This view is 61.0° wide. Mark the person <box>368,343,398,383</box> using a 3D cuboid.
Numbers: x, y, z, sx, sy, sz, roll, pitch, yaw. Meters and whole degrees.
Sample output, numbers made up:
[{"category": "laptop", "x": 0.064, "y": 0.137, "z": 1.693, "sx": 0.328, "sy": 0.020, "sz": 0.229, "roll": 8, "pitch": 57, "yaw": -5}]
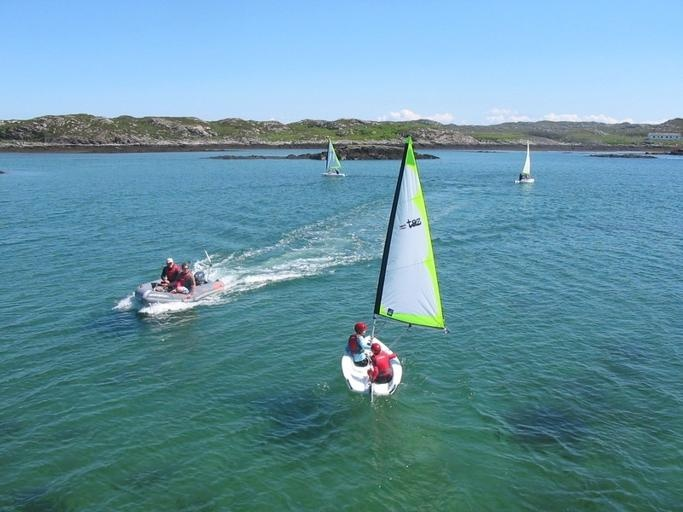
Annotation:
[{"category": "person", "x": 1.863, "y": 4.974, "z": 26.871, "sx": 1.218, "sy": 1.765, "sz": 1.152, "roll": -2, "pitch": 16, "yaw": 3}]
